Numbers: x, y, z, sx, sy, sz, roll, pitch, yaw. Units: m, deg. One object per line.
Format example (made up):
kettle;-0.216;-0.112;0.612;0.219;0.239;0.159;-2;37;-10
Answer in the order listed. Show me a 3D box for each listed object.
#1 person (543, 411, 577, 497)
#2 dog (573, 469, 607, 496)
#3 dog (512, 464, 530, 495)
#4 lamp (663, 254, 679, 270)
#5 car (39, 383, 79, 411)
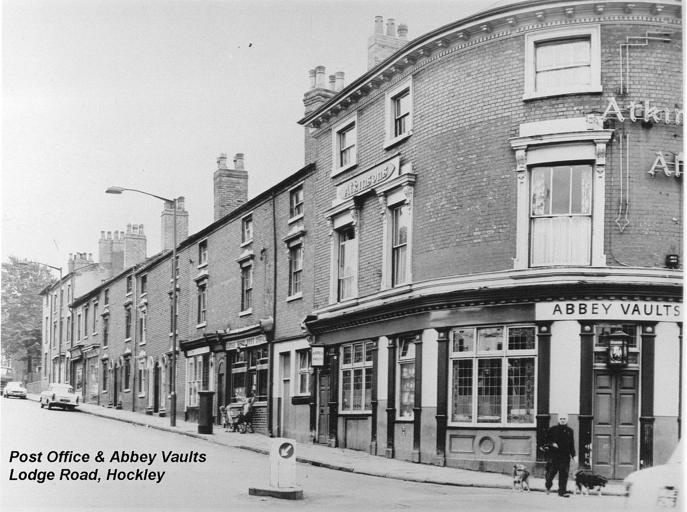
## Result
person;5.875;5.461;38.609;0.794;1.868;1.038;0;12;9
dog;6.671;6.092;38.289;0.806;0.642;0.589;0;11;9
dog;4.870;5.979;38.868;0.447;0.771;0.492;0;11;5
lamp;9.408;0.152;40.609;0.434;0.373;0.221;1;12;12
car;-9.973;4.795;49.240;1.075;0.784;2.131;5;-6;-25
